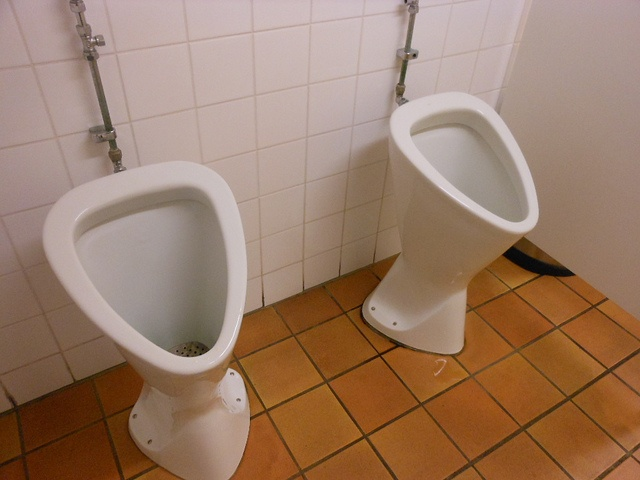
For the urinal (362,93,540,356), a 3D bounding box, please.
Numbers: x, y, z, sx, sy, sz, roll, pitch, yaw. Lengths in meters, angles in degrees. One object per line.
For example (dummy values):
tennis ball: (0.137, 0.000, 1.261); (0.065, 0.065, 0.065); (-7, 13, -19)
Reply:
urinal: (0.429, 0.002, 1.703); (0.437, 0.824, 0.538); (-21, 48, -29)
